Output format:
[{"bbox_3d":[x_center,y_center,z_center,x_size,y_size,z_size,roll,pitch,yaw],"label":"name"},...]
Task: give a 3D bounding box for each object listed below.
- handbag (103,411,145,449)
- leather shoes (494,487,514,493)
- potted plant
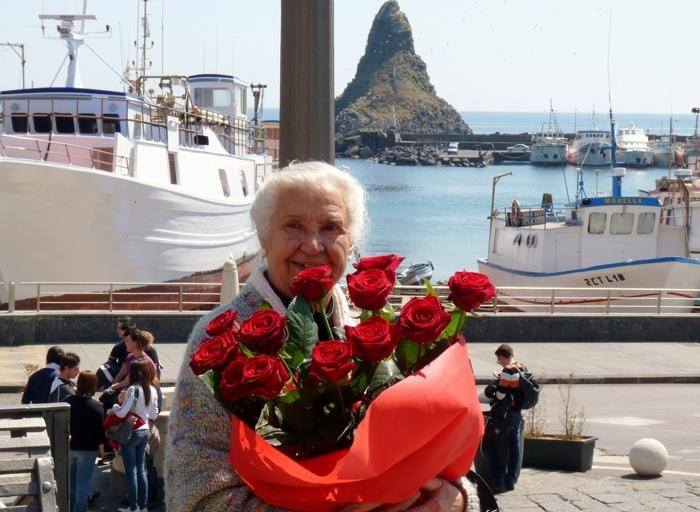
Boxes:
[{"bbox_3d":[-3.164,2.400,14.068,0.567,0.505,0.221,-1,4,-13],"label":"handbag"},{"bbox_3d":[2.255,3.374,14.662,0.135,0.053,0.142,-24,-19,34],"label":"leather shoes"},{"bbox_3d":[3.245,2.695,16.039,1.350,1.332,1.044,3,-4,18],"label":"potted plant"}]
